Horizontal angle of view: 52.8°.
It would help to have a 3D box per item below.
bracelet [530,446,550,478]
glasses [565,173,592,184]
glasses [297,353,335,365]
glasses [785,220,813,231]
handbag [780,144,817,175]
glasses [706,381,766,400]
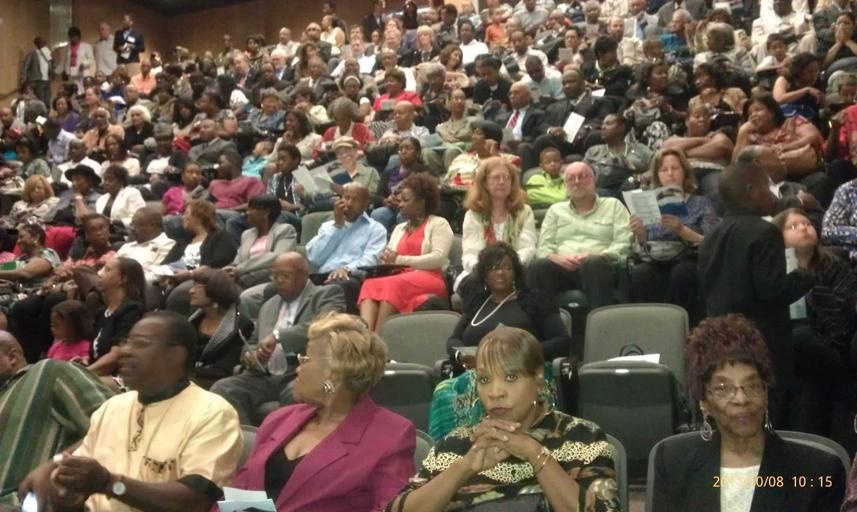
[{"bbox_3d":[0.771,1.425,5.966,0.084,0.210,0.188,28,8,2],"label":"bracelet"},{"bbox_3d":[1.637,-0.838,9.426,0.139,0.059,0.154,-6,-19,16],"label":"glasses"},{"bbox_3d":[-0.841,0.782,6.527,0.199,0.058,0.191,3,-7,1],"label":"glasses"},{"bbox_3d":[3.484,-0.278,8.117,0.126,0.050,0.145,4,-21,1],"label":"glasses"},{"bbox_3d":[4.320,-1.122,10.081,0.435,0.392,0.221,-3,-1,14],"label":"handbag"},{"bbox_3d":[2.214,0.974,6.223,0.380,0.118,0.052,-3,-1,4],"label":"glasses"}]
